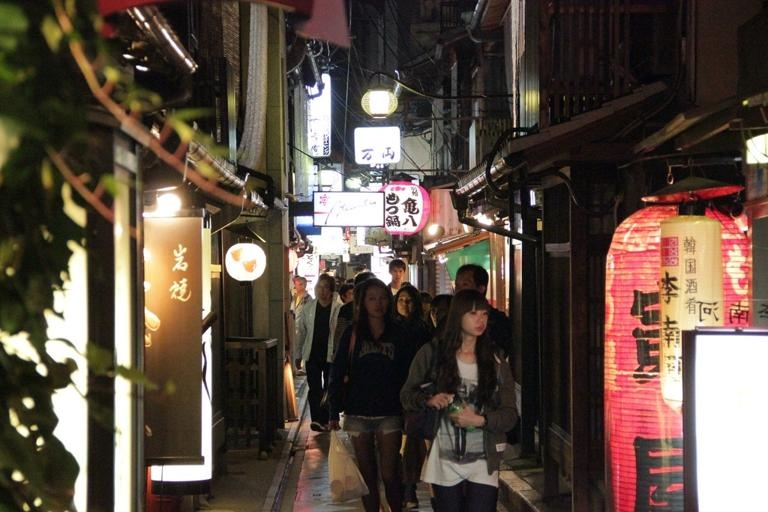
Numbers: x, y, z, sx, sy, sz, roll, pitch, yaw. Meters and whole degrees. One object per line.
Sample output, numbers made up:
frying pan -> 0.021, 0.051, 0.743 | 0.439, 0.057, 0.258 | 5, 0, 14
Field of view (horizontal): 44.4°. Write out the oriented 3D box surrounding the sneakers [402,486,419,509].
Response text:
sneakers -> 0.312, 2.813, 11.027 | 0.161, 0.271, 0.083 | 1, -11, -8

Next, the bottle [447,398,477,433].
bottle -> 0.714, 1.412, 8.506 | 0.269, 0.310, 0.194 | -1, -11, 4

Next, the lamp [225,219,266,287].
lamp -> -1.999, -0.067, 13.706 | 0.501, 0.699, 0.497 | 0, -15, -17

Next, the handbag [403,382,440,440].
handbag -> 0.328, 1.418, 8.728 | 0.175, 0.530, 0.342 | 10, -14, -43

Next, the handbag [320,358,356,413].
handbag -> -0.505, 1.394, 10.100 | 0.314, 0.517, 0.483 | 3, 10, -6
